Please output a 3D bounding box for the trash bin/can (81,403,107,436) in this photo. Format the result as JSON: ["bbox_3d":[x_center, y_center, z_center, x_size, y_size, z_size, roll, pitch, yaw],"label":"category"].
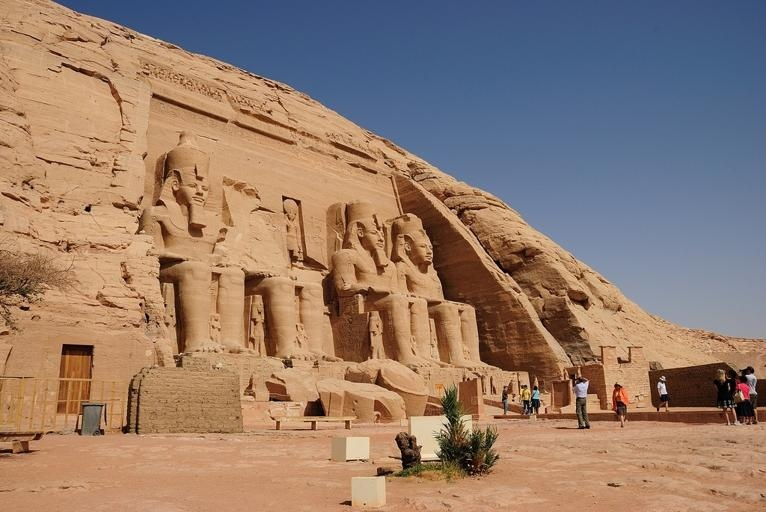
[{"bbox_3d":[-5.281,2.992,10.430,0.406,0.560,0.909,5,-19,-22],"label":"trash bin/can"}]

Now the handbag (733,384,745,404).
[{"bbox_3d":[6.730,2.625,10.771,0.259,0.356,0.417,-1,-11,22],"label":"handbag"}]

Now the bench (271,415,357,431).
[{"bbox_3d":[-1.465,3.676,12.565,1.689,0.275,2.279,-1,-15,-3],"label":"bench"}]

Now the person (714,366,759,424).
[{"bbox_3d":[6.695,2.682,10.842,0.604,1.004,0.480,-13,-25,19],"label":"person"}]

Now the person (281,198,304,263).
[{"bbox_3d":[-3.200,-0.899,20.340,0.479,2.500,0.865,-20,-28,29],"label":"person"}]
